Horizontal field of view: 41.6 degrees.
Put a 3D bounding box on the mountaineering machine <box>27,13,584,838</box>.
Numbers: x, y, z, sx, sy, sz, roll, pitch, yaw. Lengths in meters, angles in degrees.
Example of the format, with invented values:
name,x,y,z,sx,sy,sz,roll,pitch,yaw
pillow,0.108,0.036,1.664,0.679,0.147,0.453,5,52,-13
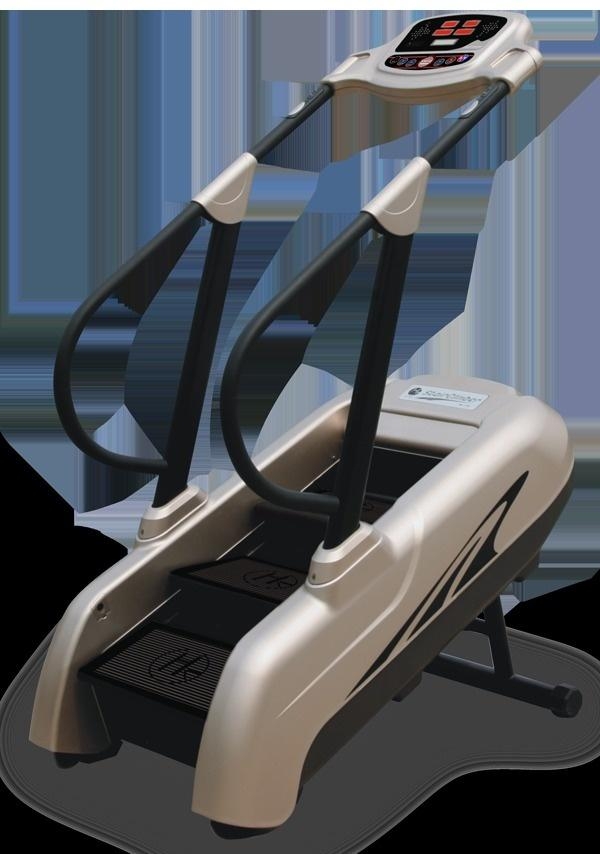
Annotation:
name,x,y,z,sx,sy,sz,roll,pitch,yaw
mountaineering machine,0.003,-0.035,1.543,1.136,1.148,0.627,-24,21,-36
